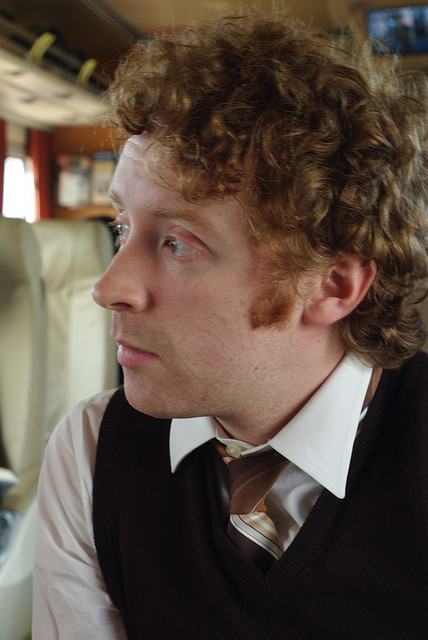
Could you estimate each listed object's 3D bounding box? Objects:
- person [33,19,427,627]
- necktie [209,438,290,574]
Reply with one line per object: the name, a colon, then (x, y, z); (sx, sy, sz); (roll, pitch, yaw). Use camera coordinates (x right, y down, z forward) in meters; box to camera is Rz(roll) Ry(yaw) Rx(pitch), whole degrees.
person: (0.067, 0.024, 0.878); (0.535, 0.869, 0.329); (7, 19, 18)
necktie: (0.074, 0.261, 0.893); (0.127, 0.186, 0.107); (4, 15, 20)
